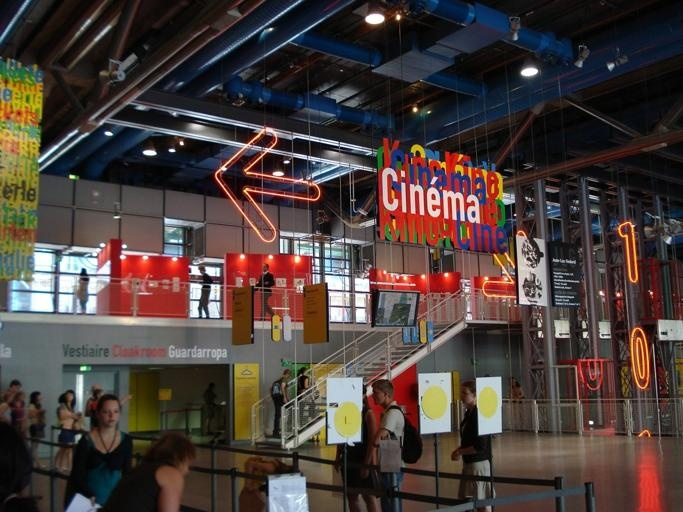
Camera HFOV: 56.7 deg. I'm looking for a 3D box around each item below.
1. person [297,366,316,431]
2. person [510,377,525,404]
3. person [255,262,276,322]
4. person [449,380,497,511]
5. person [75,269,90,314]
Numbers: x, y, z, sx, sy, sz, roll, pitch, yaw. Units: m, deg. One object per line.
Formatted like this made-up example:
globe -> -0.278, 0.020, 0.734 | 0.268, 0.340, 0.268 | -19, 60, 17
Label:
person -> -0.980, 3.822, 17.331 | 0.493, 1.552, 1.443 | 2, -12, -5
person -> 5.785, 4.427, 20.895 | 0.370, 0.775, 0.813 | -2, -12, 14
person -> -2.226, 1.069, 18.386 | 0.517, 1.576, 1.913 | 3, -12, -7
person -> 1.509, 2.227, 7.387 | 0.460, 1.519, 0.800 | -1, -12, 11
person -> -6.691, 0.951, 16.295 | 0.306, 1.041, 0.324 | 5, -12, -16
